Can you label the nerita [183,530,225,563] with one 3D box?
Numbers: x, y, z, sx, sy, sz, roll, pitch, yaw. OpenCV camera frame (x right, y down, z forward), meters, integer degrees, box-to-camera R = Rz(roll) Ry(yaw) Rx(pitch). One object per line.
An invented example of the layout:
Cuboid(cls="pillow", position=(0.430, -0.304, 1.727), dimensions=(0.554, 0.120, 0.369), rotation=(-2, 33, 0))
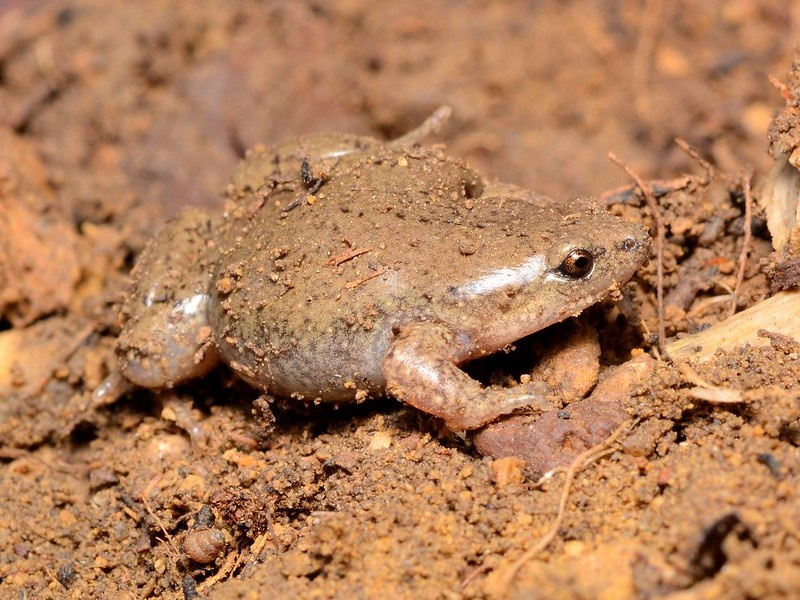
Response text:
Cuboid(cls="nerita", position=(-1.105, 1.383, 5.311), dimensions=(0.232, 0.144, 0.178), rotation=(-2, 73, 2))
